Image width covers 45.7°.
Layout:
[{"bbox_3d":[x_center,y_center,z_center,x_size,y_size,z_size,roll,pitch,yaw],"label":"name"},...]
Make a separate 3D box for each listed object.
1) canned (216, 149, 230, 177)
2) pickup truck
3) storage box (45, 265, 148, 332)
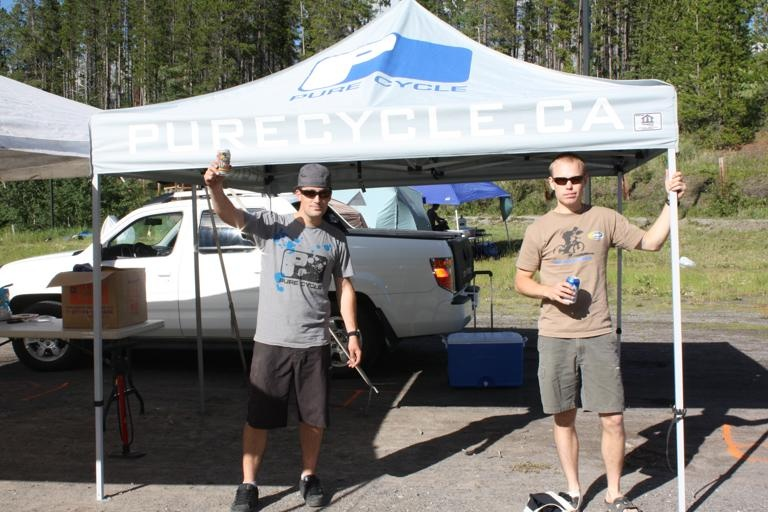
[{"bbox_3d":[-1.678,-0.964,9.527,0.121,0.229,0.182,-3,15,-7],"label":"canned"},{"bbox_3d":[-2.020,0.304,13.887,6.266,2.486,2.839,1,-1,5],"label":"pickup truck"},{"bbox_3d":[-3.359,0.494,10.712,0.849,0.543,0.813,-1,1,8],"label":"storage box"}]
